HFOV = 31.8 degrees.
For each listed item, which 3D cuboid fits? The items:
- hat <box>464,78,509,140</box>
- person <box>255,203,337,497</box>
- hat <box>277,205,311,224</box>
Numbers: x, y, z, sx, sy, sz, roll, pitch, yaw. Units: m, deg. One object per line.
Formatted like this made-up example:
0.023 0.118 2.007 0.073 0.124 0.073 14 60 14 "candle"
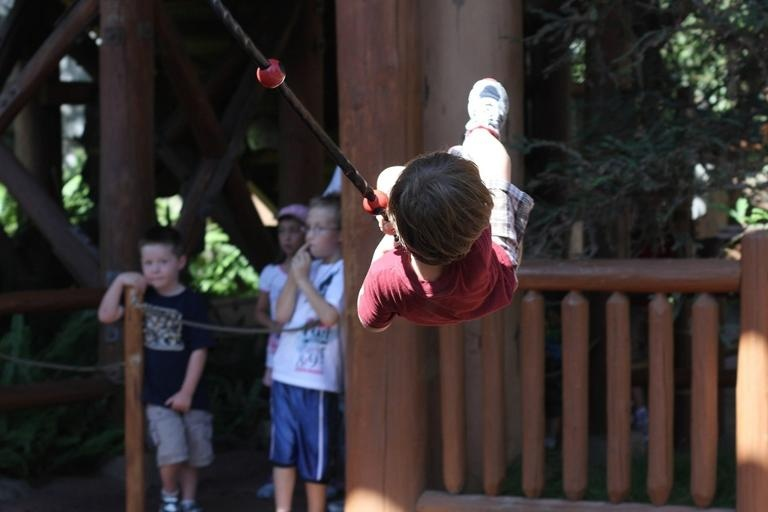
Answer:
0.640 -0.912 8.264 0.160 0.488 0.199 4 12 8 "hat"
-0.513 0.659 9.243 0.525 2.147 0.357 0 0 4 "person"
-0.625 -0.311 9.718 0.176 0.145 0.305 4 -14 4 "hat"
